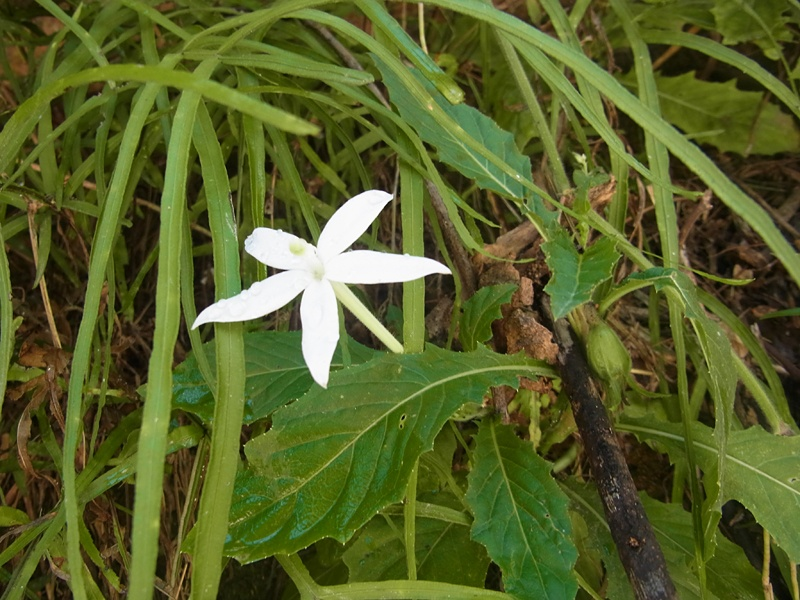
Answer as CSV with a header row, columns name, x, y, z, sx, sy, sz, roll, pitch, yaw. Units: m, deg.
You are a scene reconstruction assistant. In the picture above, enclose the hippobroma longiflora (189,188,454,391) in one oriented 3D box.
name,x,y,z,sx,sy,sz,roll,pitch,yaw
hippobroma longiflora,-0.181,0.033,1.613,0.395,0.233,0.463,-17,65,-4
